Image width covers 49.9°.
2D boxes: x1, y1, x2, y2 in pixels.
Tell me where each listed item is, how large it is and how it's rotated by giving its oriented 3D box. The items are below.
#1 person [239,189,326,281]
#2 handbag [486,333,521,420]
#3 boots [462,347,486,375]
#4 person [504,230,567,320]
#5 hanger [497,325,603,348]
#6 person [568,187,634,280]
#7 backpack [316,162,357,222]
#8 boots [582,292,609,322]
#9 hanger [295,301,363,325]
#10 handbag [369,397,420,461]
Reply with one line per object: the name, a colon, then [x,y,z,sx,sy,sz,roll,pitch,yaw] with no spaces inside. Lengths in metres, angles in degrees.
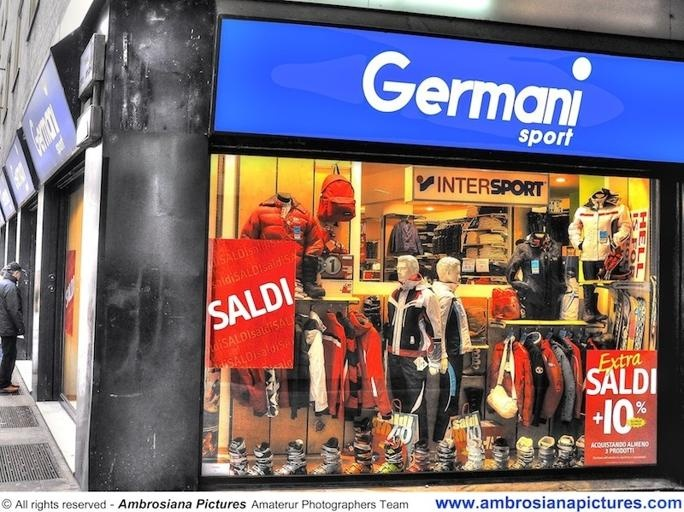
person: [-0.535,-0.188,6.212,0.733,0.877,0.317,3,-4,-32]
handbag: [1.431,1.080,6.563,0.288,0.703,0.149,0,3,-16]
boots: [1.161,0.936,6.671,0.271,0.259,0.216,2,-8,-8]
person: [1.800,0.169,6.825,0.510,0.780,0.254,2,3,9]
hanger: [1.956,0.718,6.642,0.866,0.177,0.112,2,3,8]
person: [2.359,-0.193,6.717,0.558,0.834,0.253,2,3,19]
backpack: [-0.060,-0.587,6.344,0.359,0.507,0.289,-7,28,-21]
boots: [2.311,0.446,6.714,0.203,0.297,0.142,2,3,14]
hanger: [-0.135,0.474,6.329,0.560,0.200,0.058,-1,4,-26]
handbag: [0.437,1.503,6.314,0.497,0.603,0.194,1,-10,-2]
